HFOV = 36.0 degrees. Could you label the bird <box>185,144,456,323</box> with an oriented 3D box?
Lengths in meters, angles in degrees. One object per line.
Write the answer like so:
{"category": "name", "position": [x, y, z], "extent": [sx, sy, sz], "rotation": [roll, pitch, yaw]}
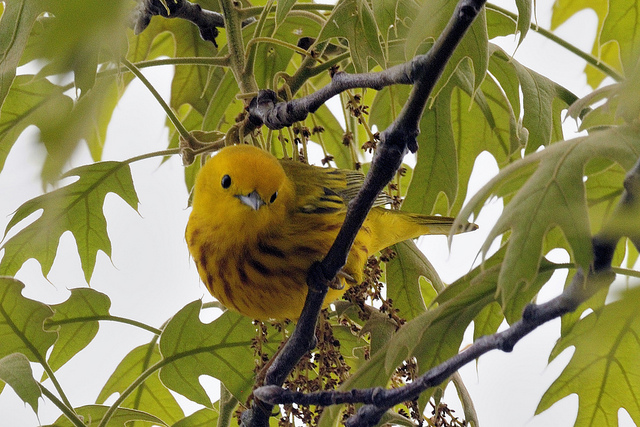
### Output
{"category": "bird", "position": [-0.038, 0.052, 3.713], "extent": [0.669, 1.077, 0.682], "rotation": [13, -76, 44]}
